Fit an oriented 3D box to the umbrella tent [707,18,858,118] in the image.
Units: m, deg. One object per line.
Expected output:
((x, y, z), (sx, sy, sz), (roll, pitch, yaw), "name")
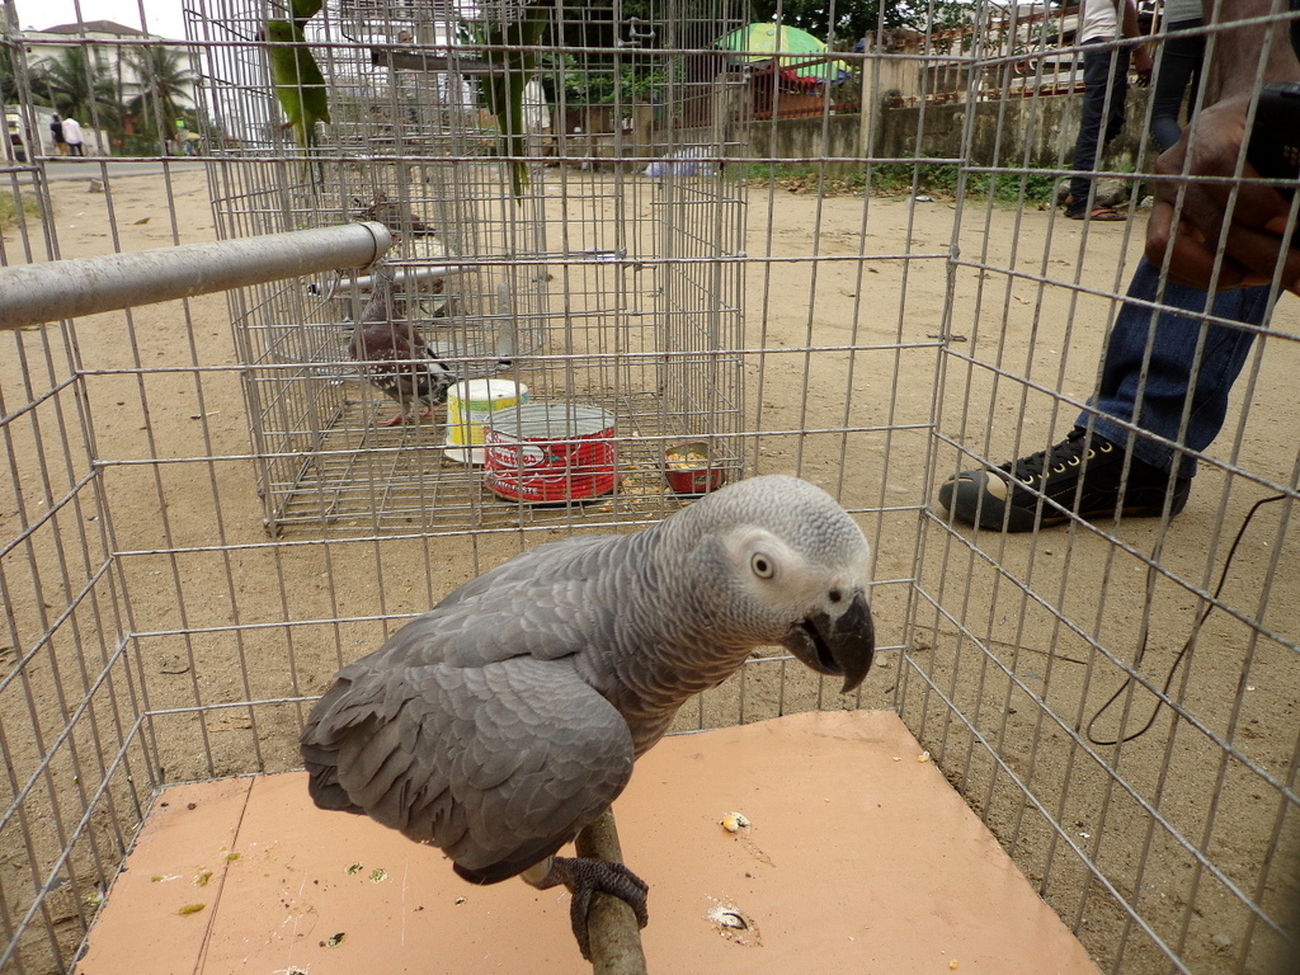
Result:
((0.549, -2.050, 4.190), (0.667, 0.239, 0.687), (10, 28, 1), "umbrella tent")

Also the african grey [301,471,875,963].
((-0.154, 0.236, 2.230), (1.305, 1.062, 0.852), (14, 21, 9), "african grey")

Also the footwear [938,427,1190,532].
((1.437, -0.013, 3.110), (0.812, 0.326, 0.263), (4, 36, -9), "footwear")

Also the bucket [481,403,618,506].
((-0.353, -0.094, 3.617), (0.575, 0.282, 0.559), (-6, 4, 0), "bucket")
